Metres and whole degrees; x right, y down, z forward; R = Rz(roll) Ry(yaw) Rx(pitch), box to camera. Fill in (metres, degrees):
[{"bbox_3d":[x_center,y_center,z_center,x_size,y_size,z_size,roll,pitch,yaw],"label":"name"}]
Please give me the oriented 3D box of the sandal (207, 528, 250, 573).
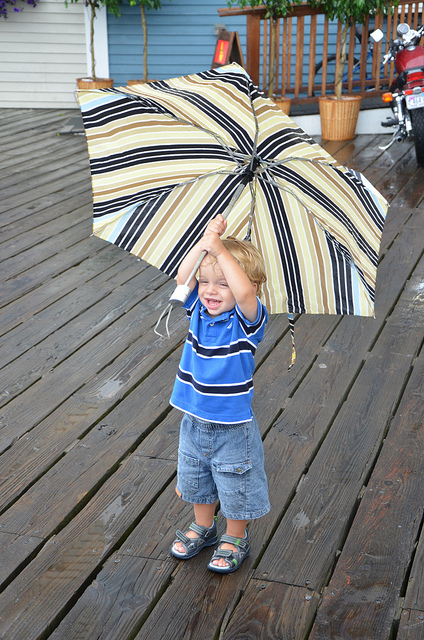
[{"bbox_3d":[0.053,0.613,1.288,0.078,0.073,0.164,-2,-1,31],"label":"sandal"}]
